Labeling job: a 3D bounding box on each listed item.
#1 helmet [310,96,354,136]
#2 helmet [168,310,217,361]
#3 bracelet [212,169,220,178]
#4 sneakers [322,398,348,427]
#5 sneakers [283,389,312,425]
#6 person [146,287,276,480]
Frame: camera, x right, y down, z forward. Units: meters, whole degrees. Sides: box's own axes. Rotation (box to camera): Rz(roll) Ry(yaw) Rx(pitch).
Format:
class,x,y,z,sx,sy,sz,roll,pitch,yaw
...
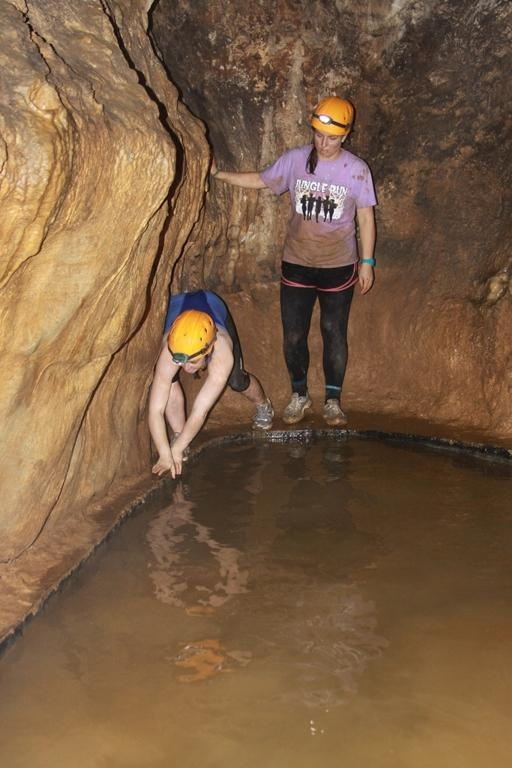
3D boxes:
class,x,y,z,sx,sy,sz,roll,pitch,yaw
helmet,0.433,-1.567,4.029,0.212,0.202,0.273,29,40,7
helmet,-0.333,-0.295,3.718,0.262,0.250,0.338,-2,10,-2
bracelet,-0.251,-1.325,4.320,0.016,0.045,0.047,13,11,40
sneakers,0.573,0.204,4.856,0.135,0.089,0.207,-7,21,-12
sneakers,0.273,0.144,5.018,0.140,0.174,0.286,14,46,30
person,-0.311,-0.035,4.063,0.580,1.011,1.008,-1,12,0
